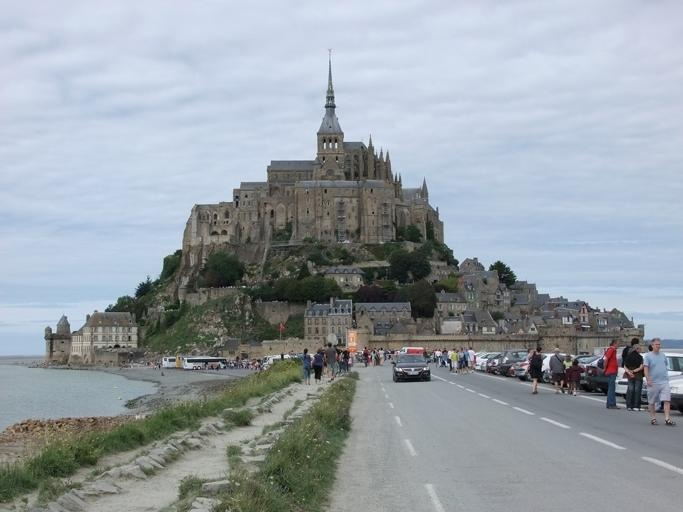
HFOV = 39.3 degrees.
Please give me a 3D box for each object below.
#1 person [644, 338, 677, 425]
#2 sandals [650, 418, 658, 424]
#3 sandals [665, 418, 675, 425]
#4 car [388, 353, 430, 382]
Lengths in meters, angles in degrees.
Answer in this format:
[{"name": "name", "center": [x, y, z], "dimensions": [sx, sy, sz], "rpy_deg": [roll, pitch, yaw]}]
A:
[{"name": "person", "center": [7.967, 3.184, 24.127], "dimensions": [0.627, 1.544, 1.193], "rpy_deg": [-5, -4, 17]}, {"name": "sandals", "center": [7.762, 4.131, 23.843], "dimensions": [0.172, 0.130, 0.479], "rpy_deg": [-1, 2, 7]}, {"name": "sandals", "center": [8.113, 4.115, 23.665], "dimensions": [0.264, 0.118, 0.139], "rpy_deg": [1, -1, -44]}, {"name": "car", "center": [2.999, 4.924, 41.807], "dimensions": [1.504, 1.135, 2.241], "rpy_deg": [-4, -4, 0]}]
